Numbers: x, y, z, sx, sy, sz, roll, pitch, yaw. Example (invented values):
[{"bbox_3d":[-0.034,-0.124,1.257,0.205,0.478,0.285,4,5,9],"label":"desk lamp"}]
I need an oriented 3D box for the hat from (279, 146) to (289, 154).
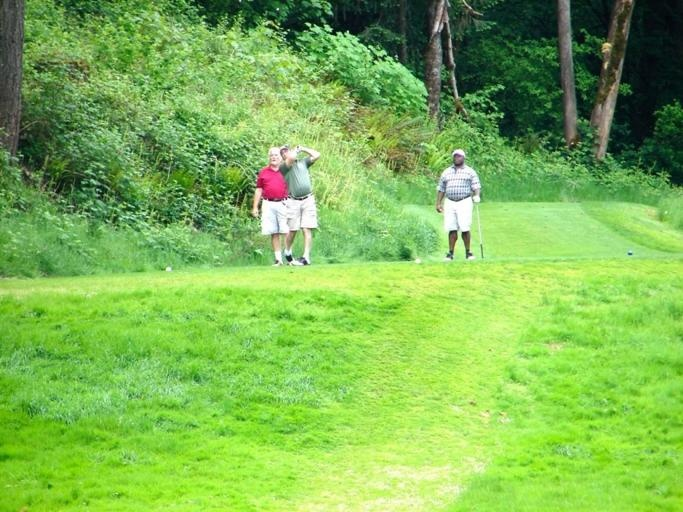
[{"bbox_3d":[-1.023,-1.908,15.946,0.153,0.171,0.322,1,5,-6],"label":"hat"}]

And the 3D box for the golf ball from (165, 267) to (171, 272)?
[{"bbox_3d":[-3.059,0.234,15.685,0.089,0.072,0.093,1,-6,0],"label":"golf ball"}]

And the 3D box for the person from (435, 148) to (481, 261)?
[{"bbox_3d":[2.268,-1.002,17.194,0.699,2.093,0.942,-2,6,-38],"label":"person"}]
